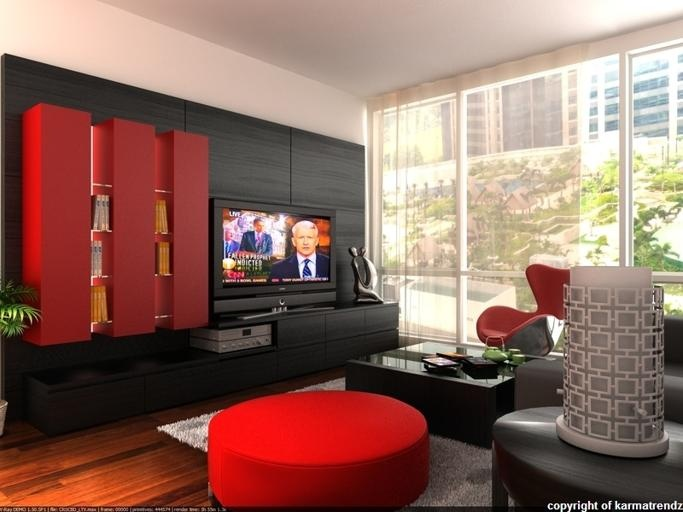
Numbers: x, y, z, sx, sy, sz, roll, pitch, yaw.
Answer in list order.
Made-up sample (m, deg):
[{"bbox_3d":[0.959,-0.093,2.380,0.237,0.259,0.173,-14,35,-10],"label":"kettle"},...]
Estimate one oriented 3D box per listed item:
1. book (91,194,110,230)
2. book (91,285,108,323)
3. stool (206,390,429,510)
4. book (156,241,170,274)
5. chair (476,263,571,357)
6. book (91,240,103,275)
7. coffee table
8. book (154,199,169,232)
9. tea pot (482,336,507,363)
[{"bbox_3d":[-1.821,-0.321,3.739,0.136,0.246,0.063,-4,2,-31],"label":"book"},{"bbox_3d":[-1.833,0.361,3.741,0.050,0.253,0.162,-2,2,23],"label":"book"},{"bbox_3d":[-0.104,0.939,2.378,1.044,0.278,0.676,-4,2,-12],"label":"stool"},{"bbox_3d":[-1.479,0.006,4.215,0.207,0.268,0.277,-1,3,-20],"label":"book"},{"bbox_3d":[1.708,0.470,4.562,0.920,0.965,0.869,-2,-5,7],"label":"chair"},{"bbox_3d":[-1.845,0.019,3.713,0.037,0.246,0.102,-2,2,21],"label":"book"},{"bbox_3d":[0.630,0.872,3.258,0.624,0.234,0.638,7,7,37],"label":"coffee table"},{"bbox_3d":[-1.484,-0.322,4.073,0.055,0.227,0.170,-3,2,15],"label":"book"},{"bbox_3d":[1.127,0.688,3.636,0.157,0.125,0.242,1,4,10],"label":"tea pot"}]
